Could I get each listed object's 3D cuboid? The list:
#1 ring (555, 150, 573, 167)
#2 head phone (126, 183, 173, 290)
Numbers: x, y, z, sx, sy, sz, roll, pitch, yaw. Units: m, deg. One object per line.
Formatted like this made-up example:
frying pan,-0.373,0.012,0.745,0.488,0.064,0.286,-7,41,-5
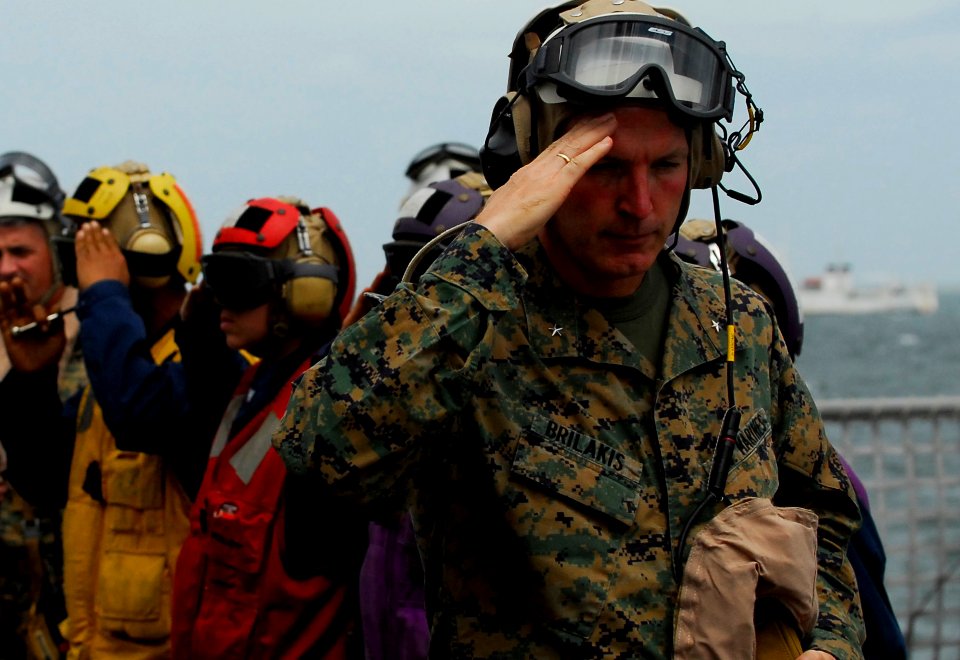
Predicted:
ring,0.352,-0.710,6.696,0.051,0.019,0.043,36,17,5
head phone,-1.722,-0.501,8.393,0.251,0.463,0.329,-4,-6,-2
